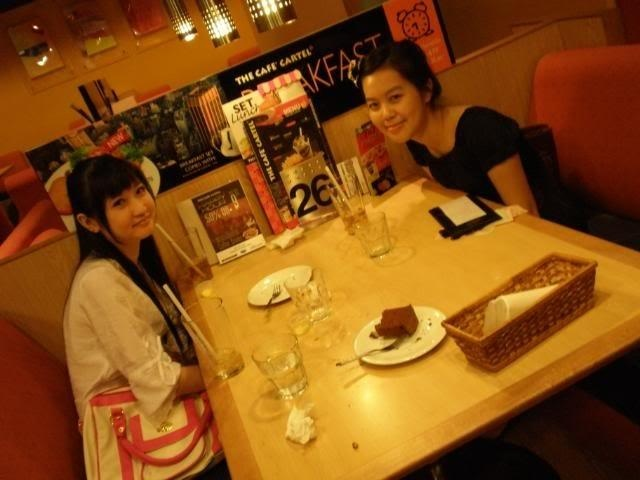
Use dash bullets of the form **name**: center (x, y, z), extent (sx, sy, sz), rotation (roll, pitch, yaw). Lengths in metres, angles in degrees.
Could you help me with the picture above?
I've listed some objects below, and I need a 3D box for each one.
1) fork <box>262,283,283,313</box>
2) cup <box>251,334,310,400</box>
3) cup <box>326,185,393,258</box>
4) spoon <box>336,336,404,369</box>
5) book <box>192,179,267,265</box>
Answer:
- **fork**: center (-0.198, 0.237, 2.017), extent (0.030, 0.033, 0.205), rotation (-55, 8, 52)
- **cup**: center (-0.132, 0.449, 1.602), extent (0.136, 0.160, 0.150), rotation (-18, -1, 6)
- **cup**: center (0.170, -0.093, 2.228), extent (0.157, 0.193, 0.471), rotation (-28, 28, 8)
- **spoon**: center (0.170, 0.368, 1.550), extent (0.169, 0.025, 0.040), rotation (-24, 19, 0)
- **book**: center (-0.510, -0.087, 2.555), extent (0.295, 0.422, 0.041), rotation (-25, 1, -4)
